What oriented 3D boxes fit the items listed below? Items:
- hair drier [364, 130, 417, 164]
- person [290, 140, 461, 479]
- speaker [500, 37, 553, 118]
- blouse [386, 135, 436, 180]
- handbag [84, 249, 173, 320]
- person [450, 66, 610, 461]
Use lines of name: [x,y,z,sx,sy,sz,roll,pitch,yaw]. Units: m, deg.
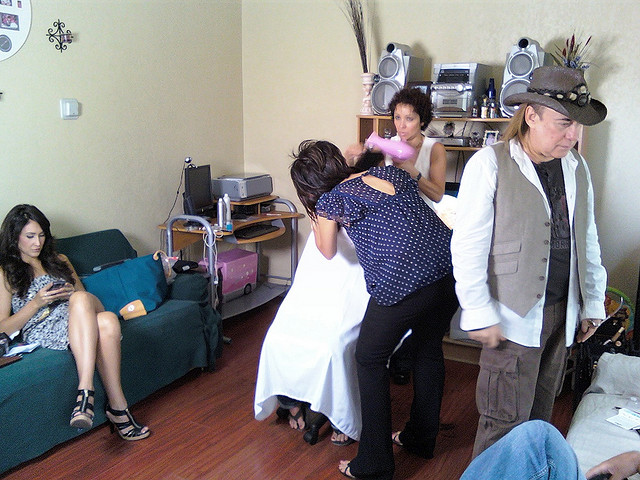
hair drier: [0.415,-0.515,2.781,0.266,0.123,0.128,19,38,6]
person: [0.314,0.382,2.411,0.610,1.671,0.638,-11,23,-22]
speaker: [1.452,-1.088,3.473,0.285,0.583,0.322,1,-9,43]
blouse: [0.581,-0.560,3.315,0.237,0.308,0.298,-8,19,-28]
handbag: [-1.169,0.271,3.098,0.418,0.399,0.167,-13,-13,-24]
person: [0.862,0.109,1.994,0.728,1.512,0.458,-19,26,-36]
